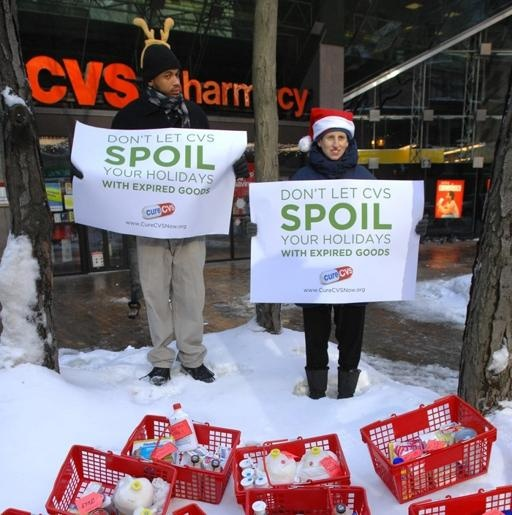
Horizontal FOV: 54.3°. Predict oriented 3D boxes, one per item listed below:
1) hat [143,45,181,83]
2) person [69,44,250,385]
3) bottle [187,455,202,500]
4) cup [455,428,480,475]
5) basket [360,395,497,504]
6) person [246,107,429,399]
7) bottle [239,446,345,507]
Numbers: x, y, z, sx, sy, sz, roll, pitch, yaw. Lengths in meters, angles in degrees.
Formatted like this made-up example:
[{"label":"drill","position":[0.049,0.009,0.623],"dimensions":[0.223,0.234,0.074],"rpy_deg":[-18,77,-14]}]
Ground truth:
[{"label":"hat","position":[-0.654,-1.287,3.317],"dimensions":[0.222,0.207,0.218],"rpy_deg":[11,33,19]},{"label":"person","position":[-0.588,-0.275,3.467],"dimensions":[0.681,2.300,0.785],"rpy_deg":[-6,18,-15]},{"label":"bottle","position":[-0.292,1.041,2.363],"dimensions":[0.105,0.051,0.158],"rpy_deg":[3,53,-4]},{"label":"cup","position":[1.018,0.926,2.428],"dimensions":[0.131,0.091,0.203],"rpy_deg":[-7,27,16]},{"label":"basket","position":[0.854,0.926,2.475],"dimensions":[0.588,0.267,0.394],"rpy_deg":[-17,24,-12]},{"label":"person","position":[0.515,0.087,3.267],"dimensions":[1.087,2.013,0.644],"rpy_deg":[2,18,10]},{"label":"bottle","position":[0.159,0.972,2.361],"dimensions":[0.389,0.266,0.154],"rpy_deg":[-5,-21,2]}]
